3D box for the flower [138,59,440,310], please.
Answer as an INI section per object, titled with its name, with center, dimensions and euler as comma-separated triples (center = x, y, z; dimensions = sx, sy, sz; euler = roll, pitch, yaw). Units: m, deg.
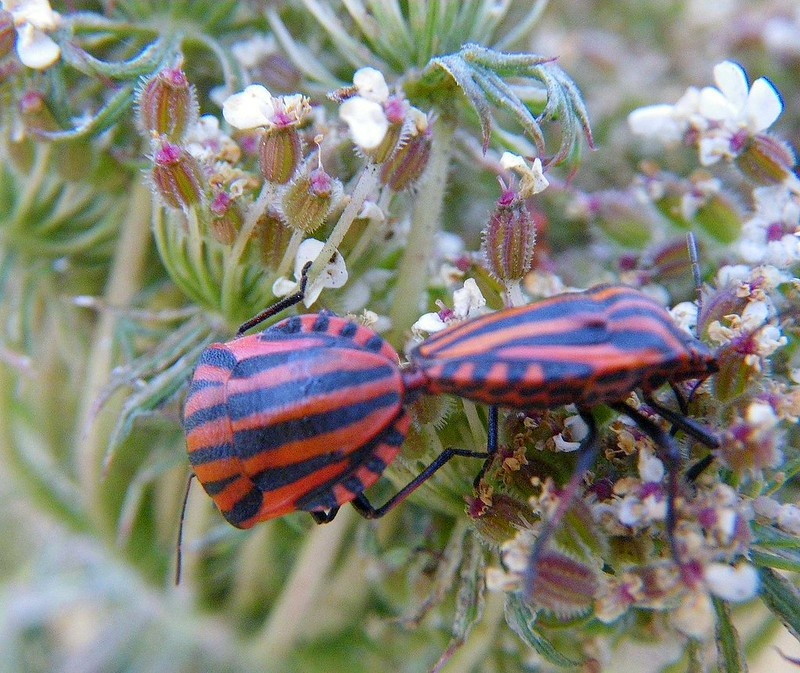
[flower]
center = -0.248, -0.308, 1.889
dimensions = 0.528, 0.533, 0.532
euler = -1, -69, -19
